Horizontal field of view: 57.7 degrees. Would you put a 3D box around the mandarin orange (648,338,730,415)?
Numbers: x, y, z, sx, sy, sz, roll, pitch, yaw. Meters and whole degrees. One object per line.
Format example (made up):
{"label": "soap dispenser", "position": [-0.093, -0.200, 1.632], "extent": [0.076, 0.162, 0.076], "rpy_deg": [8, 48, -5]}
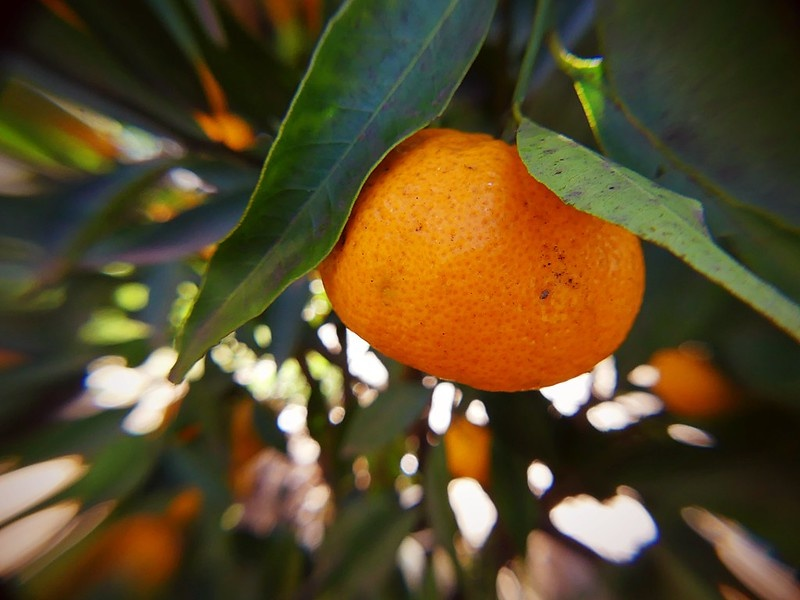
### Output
{"label": "mandarin orange", "position": [0.528, 0.147, 1.318], "extent": [0.131, 0.089, 0.099], "rpy_deg": [-16, -59, 24]}

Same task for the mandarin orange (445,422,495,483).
{"label": "mandarin orange", "position": [0.134, 0.301, 1.461], "extent": [0.097, 0.075, 0.108], "rpy_deg": [8, -53, 9]}
